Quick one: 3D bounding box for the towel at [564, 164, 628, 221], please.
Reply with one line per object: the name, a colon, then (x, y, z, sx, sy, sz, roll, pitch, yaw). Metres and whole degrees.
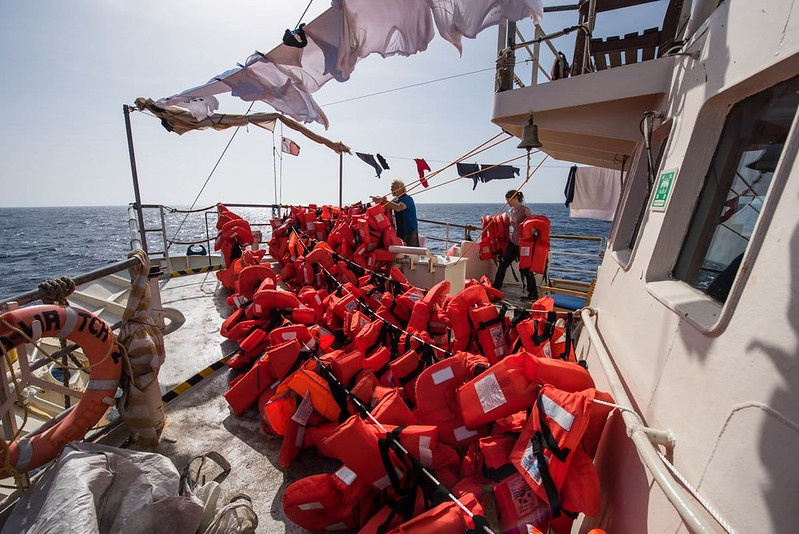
towel: (4.809, -1.774, 11.590, 1.437, 1.255, 0.132, -1, 6, -14)

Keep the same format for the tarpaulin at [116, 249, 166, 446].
tarpaulin: (-2.450, 0.784, 4.436, 0.396, 1.798, 0.532, -5, 15, -29)

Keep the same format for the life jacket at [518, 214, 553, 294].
life jacket: (2.241, -0.122, 7.883, 0.453, 1.471, 0.851, 7, 14, 20)
